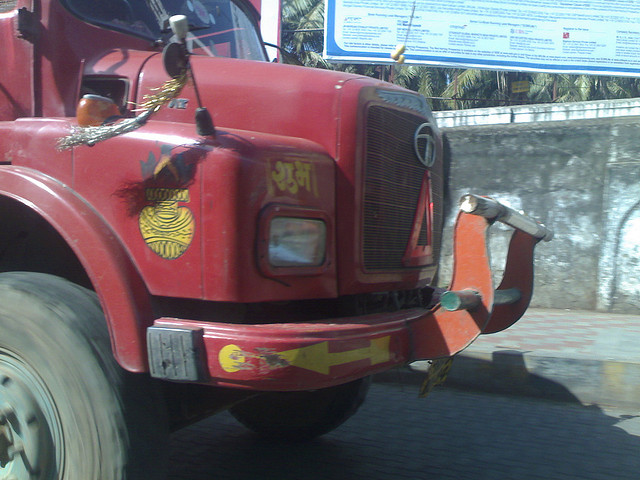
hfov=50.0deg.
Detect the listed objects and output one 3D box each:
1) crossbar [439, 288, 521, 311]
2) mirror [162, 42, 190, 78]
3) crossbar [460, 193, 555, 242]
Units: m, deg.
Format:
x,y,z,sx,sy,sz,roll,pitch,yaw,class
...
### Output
x,y,z,sx,sy,sz,roll,pitch,yaw,class
0.961,0.318,3.885,0.803,0.102,0.167,1,-17,-44,crossbar
-0.752,-0.925,3.558,0.132,0.173,0.048,-3,9,-24,mirror
1.163,-0.133,3.984,0.923,0.168,0.197,11,15,-40,crossbar
